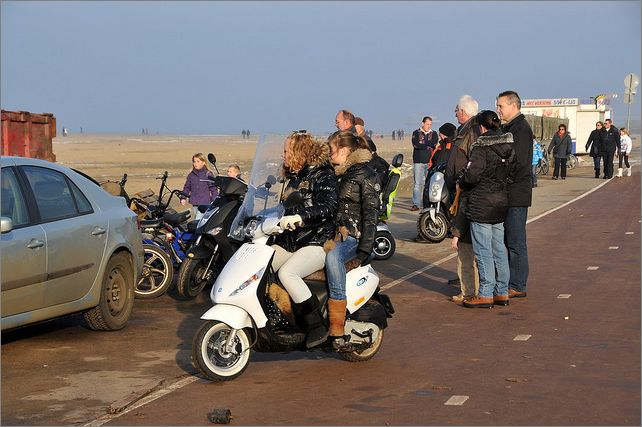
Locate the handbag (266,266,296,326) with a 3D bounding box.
[{"bbox_3d":[-0.375,0.936,6.353,0.107,0.421,0.298,-43,2,-30],"label":"handbag"}]

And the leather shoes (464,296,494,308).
[{"bbox_3d":[2.400,1.349,8.987,0.475,0.242,0.180,3,0,9],"label":"leather shoes"}]

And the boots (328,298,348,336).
[{"bbox_3d":[0.170,1.136,6.405,0.264,0.482,0.341,0,-5,1],"label":"boots"}]

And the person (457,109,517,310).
[{"bbox_3d":[2.553,-0.059,8.867,0.905,2.942,0.449,-3,9,-13],"label":"person"}]

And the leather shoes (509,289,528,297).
[{"bbox_3d":[3.131,1.257,9.299,0.274,0.121,0.103,5,-2,-1],"label":"leather shoes"}]

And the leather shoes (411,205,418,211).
[{"bbox_3d":[3.138,-0.194,19.642,0.175,0.199,0.494,0,-3,12],"label":"leather shoes"}]

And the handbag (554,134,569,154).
[{"bbox_3d":[12.130,-3.419,29.416,0.820,1.098,0.629,1,9,12],"label":"handbag"}]

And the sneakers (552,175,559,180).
[{"bbox_3d":[11.810,-1.792,29.477,0.270,0.167,0.134,6,-6,-43],"label":"sneakers"}]
